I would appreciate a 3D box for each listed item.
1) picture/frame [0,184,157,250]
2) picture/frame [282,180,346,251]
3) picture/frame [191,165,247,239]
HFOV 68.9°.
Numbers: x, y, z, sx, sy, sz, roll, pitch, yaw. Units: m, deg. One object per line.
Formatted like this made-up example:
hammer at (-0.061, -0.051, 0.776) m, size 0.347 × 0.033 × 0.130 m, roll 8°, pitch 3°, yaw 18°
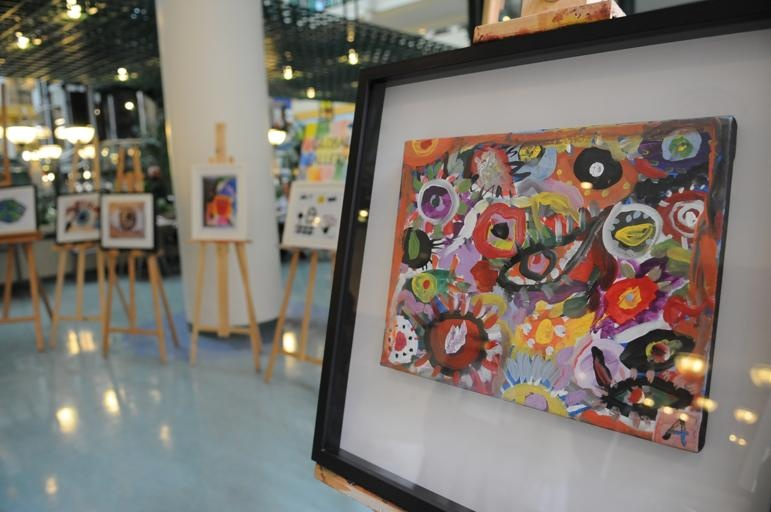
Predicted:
picture/frame at (-2.330, -0.293, 4.280) m, size 1.448 × 0.441 × 0.381 m, roll 5°, pitch 11°, yaw 24°
picture/frame at (-0.494, -0.265, 3.836) m, size 0.537 × 0.460 × 0.033 m, roll 7°, pitch -1°, yaw 39°
picture/frame at (-1.187, -0.377, 4.044) m, size 0.512 × 0.679 × 0.053 m, roll -2°, pitch -4°, yaw 7°
